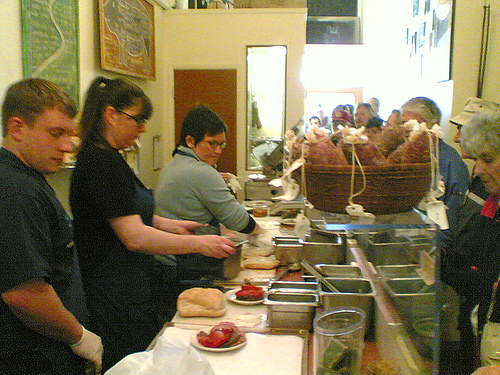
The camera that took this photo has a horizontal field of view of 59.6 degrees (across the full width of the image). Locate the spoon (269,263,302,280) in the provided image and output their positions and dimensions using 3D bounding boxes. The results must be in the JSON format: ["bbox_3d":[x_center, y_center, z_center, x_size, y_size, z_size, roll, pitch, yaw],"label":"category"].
[{"bbox_3d":[0.141,0.419,2.163,0.247,0.028,0.047,-15,-21,10],"label":"spoon"}]

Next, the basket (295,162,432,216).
[{"bbox_3d":[0.309,0.027,1.387,0.234,0.070,0.229,-6,6,42],"label":"basket"}]

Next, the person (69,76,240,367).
[{"bbox_3d":[-0.494,0.302,2.225,0.837,1.615,0.720,-3,23,-31],"label":"person"}]

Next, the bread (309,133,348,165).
[{"bbox_3d":[0.238,-0.113,1.367,0.045,0.062,0.107,-24,40,-32],"label":"bread"}]

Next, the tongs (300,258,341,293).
[{"bbox_3d":[0.291,0.364,1.773,0.071,0.051,0.315,-2,8,-14],"label":"tongs"}]

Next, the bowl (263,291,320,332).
[{"bbox_3d":[0.163,0.482,1.730,0.246,0.098,0.161,1,5,6],"label":"bowl"}]

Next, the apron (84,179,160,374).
[{"bbox_3d":[-0.516,0.510,1.988,0.220,0.594,0.376,9,13,39],"label":"apron"}]

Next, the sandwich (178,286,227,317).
[{"bbox_3d":[-0.199,0.475,1.883,0.260,0.088,0.231,-2,2,-16],"label":"sandwich"}]

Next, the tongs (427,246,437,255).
[{"bbox_3d":[0.551,0.190,1.325,0.020,0.004,0.019,-31,2,21],"label":"tongs"}]

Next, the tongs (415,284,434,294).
[{"bbox_3d":[0.534,0.308,1.332,0.011,0.008,0.059,22,-34,-15],"label":"tongs"}]
